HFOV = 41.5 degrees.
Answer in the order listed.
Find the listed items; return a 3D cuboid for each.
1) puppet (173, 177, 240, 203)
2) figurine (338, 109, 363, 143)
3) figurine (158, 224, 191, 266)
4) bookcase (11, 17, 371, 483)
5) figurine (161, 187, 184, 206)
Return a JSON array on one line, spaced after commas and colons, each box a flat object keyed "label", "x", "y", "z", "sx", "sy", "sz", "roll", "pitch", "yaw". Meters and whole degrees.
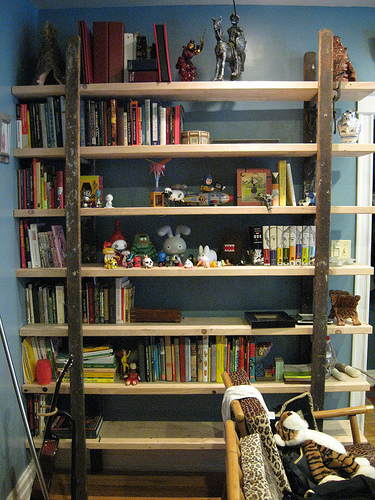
[{"label": "puppet", "x": 0.075, "y": -0.304, "z": 2.579, "sx": 0.247, "sy": 0.140, "sz": 0.163, "roll": -1, "pitch": 8, "yaw": -1}, {"label": "figurine", "x": 0.801, "y": -0.609, "z": 2.458, "sx": 0.148, "sy": 0.163, "sz": 0.150, "roll": 11, "pitch": 21, "yaw": 43}, {"label": "figurine", "x": -0.070, "y": -0.026, "z": 2.570, "sx": 0.152, "sy": 0.245, "sz": 0.112, "roll": -2, "pitch": 22, "yaw": -3}, {"label": "bookcase", "x": 0.136, "y": -0.166, "z": 2.535, "sx": 1.550, "sy": 1.756, "sz": 0.575, "roll": 1, "pitch": 14, "yaw": 8}, {"label": "figurine", "x": -0.083, "y": -0.268, "z": 2.545, "sx": 0.062, "sy": 0.095, "sz": 0.134, "roll": -7, "pitch": -13, "yaw": 35}]
